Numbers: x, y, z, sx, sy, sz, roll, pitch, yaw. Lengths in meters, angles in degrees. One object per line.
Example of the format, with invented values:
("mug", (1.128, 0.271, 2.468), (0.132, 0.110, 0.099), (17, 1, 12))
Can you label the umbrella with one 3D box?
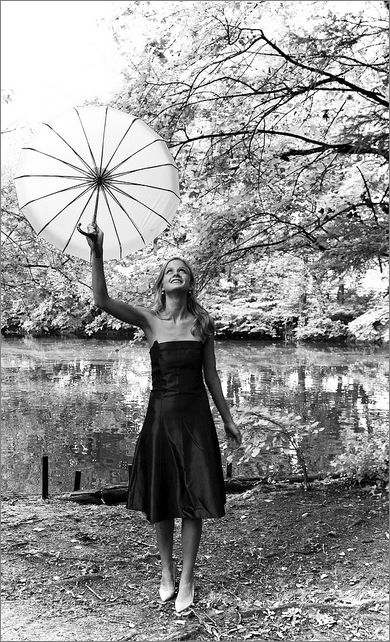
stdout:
("umbrella", (-0.541, -0.532, 3.179), (0.796, 0.726, 0.782), (17, -33, -20))

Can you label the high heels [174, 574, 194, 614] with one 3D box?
("high heels", (-0.056, 1.372, 3.074), (0.114, 0.168, 0.076), (-3, 0, -21))

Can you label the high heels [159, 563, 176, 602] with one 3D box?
("high heels", (-0.130, 1.366, 3.209), (0.071, 0.084, 0.205), (-1, 16, 7))

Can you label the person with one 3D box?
("person", (-0.135, 0.255, 3.162), (0.688, 1.833, 0.539), (-3, 0, 3))
